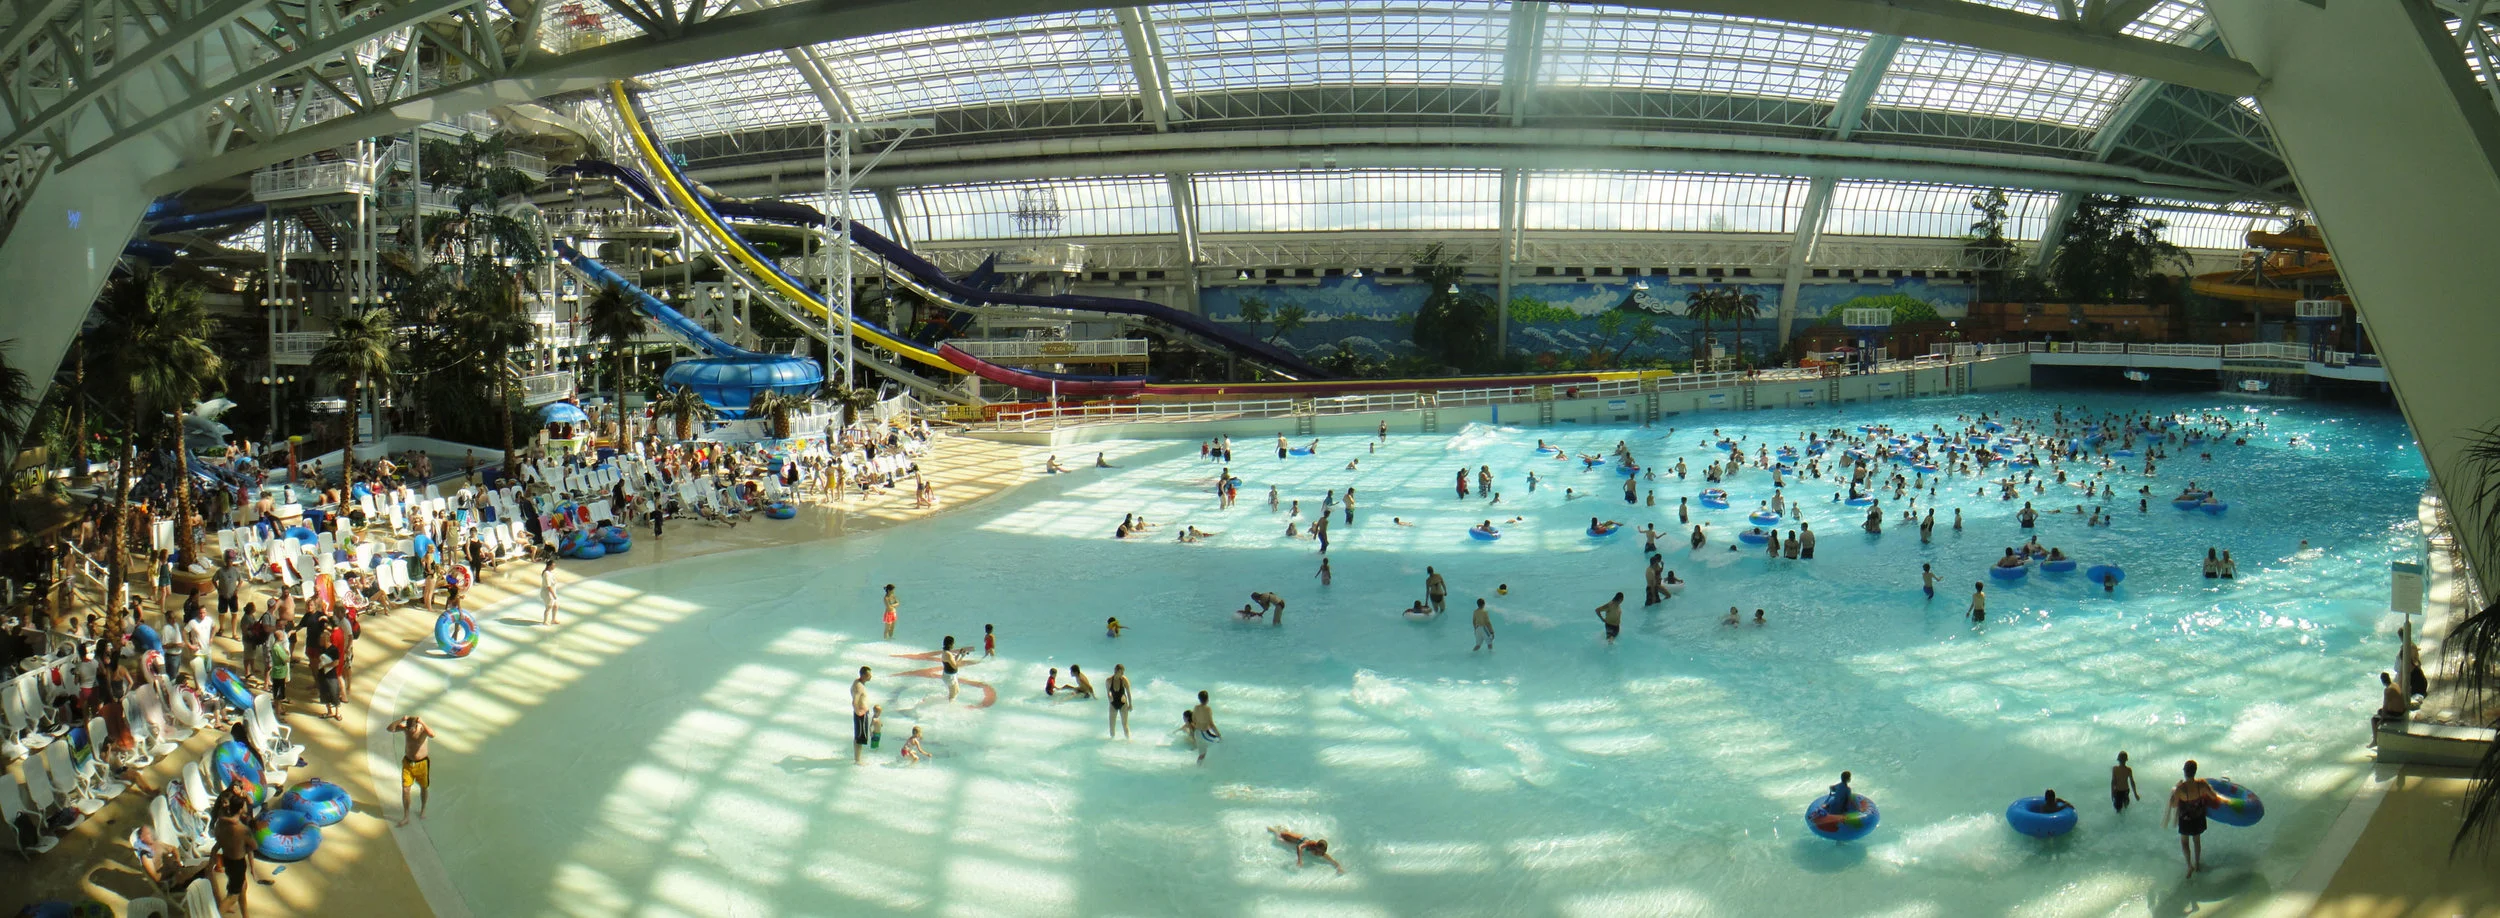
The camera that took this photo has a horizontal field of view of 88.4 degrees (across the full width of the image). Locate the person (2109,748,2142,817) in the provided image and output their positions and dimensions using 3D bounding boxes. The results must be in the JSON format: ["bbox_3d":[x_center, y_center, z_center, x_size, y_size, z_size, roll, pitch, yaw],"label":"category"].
[{"bbox_3d":[34.735,12.716,51.128,0.956,2.329,1.703,3,5,34],"label":"person"}]

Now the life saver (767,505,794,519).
[{"bbox_3d":[-23.836,2.647,65.713,1.030,0.371,0.883,-5,14,-28],"label":"life saver"}]

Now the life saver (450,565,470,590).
[{"bbox_3d":[-34.101,5.031,55.677,0.357,0.810,0.968,-11,-21,7],"label":"life saver"}]

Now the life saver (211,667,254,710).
[{"bbox_3d":[-39.752,8.993,50.271,2.084,1.608,0.370,21,49,9],"label":"life saver"}]

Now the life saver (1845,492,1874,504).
[{"bbox_3d":[33.268,2.165,70.474,1.131,0.607,1.428,3,4,39],"label":"life saver"}]

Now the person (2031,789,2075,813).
[{"bbox_3d":[31.190,13.445,50.557,1.414,0.295,1.131,-2,5,-12],"label":"person"}]

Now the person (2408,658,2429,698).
[{"bbox_3d":[46.212,8.622,50.817,0.988,1.301,0.510,-2,5,-31],"label":"person"}]
